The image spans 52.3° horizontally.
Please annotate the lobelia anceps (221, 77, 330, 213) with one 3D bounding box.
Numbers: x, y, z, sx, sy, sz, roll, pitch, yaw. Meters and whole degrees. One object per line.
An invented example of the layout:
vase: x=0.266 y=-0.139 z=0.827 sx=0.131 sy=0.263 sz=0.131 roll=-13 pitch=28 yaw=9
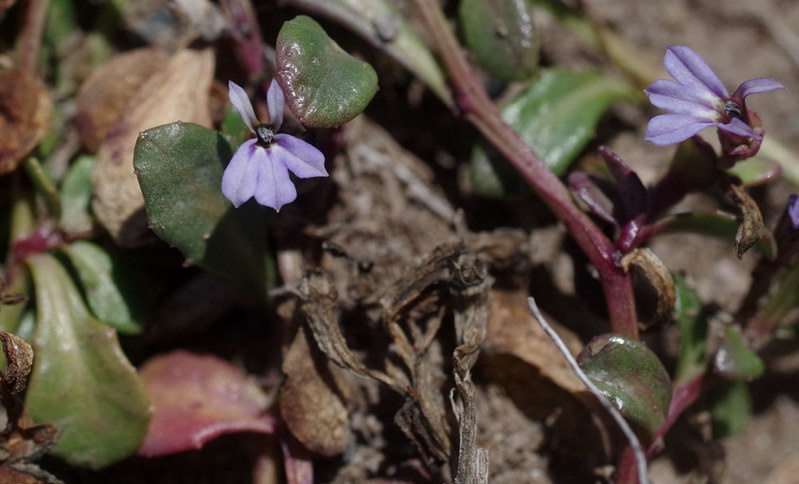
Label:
lobelia anceps: x=-0.362 y=-0.248 z=2.142 sx=0.273 sy=0.144 sz=0.368 roll=-22 pitch=52 yaw=2
